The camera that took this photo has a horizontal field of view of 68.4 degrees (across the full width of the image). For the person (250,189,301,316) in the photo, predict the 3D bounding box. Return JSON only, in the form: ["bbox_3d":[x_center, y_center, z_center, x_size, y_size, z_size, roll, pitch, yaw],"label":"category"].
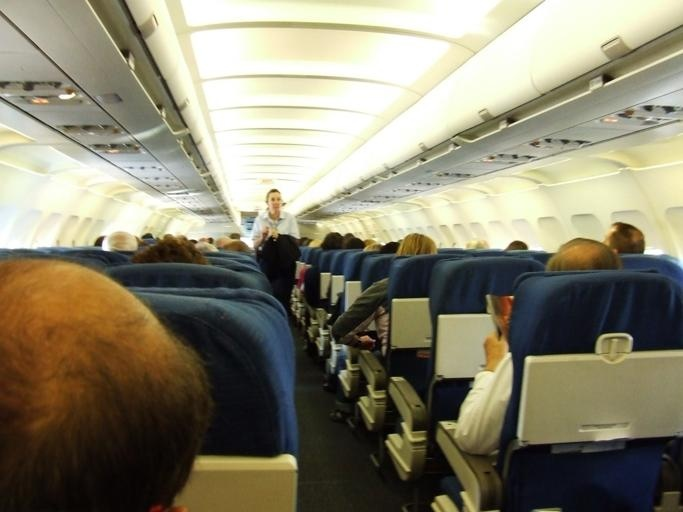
[{"bbox_3d":[-0.756,-0.029,5.931,0.564,1.456,0.575,24,35,39],"label":"person"}]

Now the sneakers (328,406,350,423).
[{"bbox_3d":[-0.022,1.449,4.601,0.137,0.048,0.126,5,12,19],"label":"sneakers"}]
